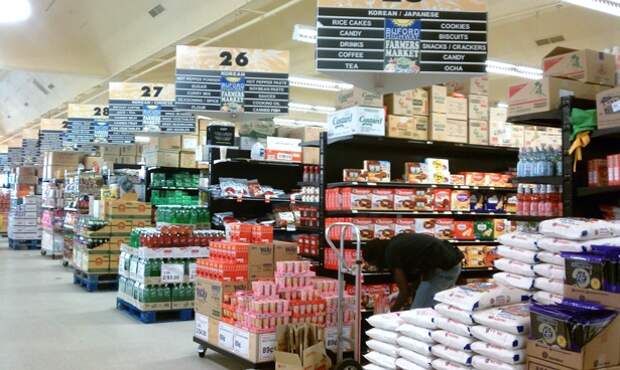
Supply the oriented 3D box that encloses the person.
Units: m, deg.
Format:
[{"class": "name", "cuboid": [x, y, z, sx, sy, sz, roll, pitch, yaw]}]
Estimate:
[{"class": "person", "cuboid": [1.414, 1.367, 7.219, 1.411, 1.422, 0.867, -6, 14, 1]}]
